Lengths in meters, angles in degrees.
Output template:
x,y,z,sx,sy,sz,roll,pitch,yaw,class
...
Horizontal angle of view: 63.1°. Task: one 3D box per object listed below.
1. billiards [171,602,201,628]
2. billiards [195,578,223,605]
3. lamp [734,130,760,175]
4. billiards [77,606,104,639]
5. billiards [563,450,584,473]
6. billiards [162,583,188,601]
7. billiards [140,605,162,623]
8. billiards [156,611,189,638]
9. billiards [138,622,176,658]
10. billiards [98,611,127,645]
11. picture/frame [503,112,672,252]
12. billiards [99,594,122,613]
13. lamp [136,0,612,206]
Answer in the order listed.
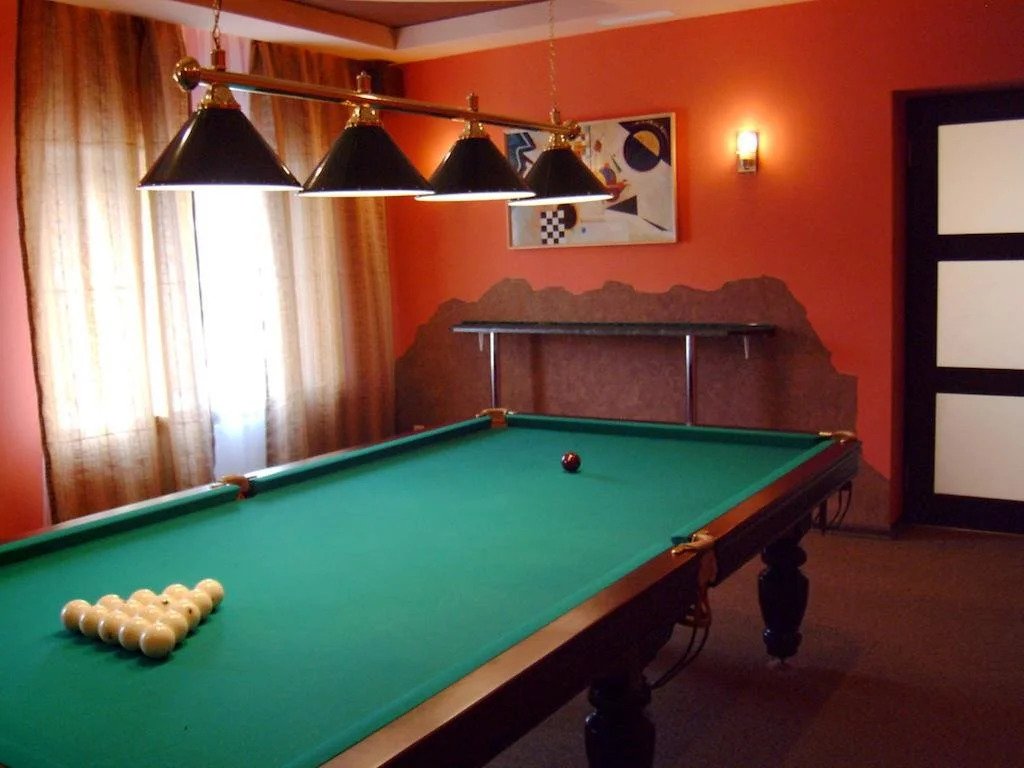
x,y,z,sx,sy,sz,roll,pitch,yaw,class
-0.822,0.574,2.114,0.059,0.064,0.062,-2,3,0,billiards
-0.806,0.547,2.236,0.062,0.069,0.065,-2,2,-2,billiards
1.423,-1.399,5.026,0.125,0.260,0.076,1,12,13,lamp
-1.061,0.598,2.125,0.065,0.080,0.066,9,7,-21,billiards
0.239,0.308,3.327,0.068,0.055,0.073,-10,37,17,billiards
-0.890,0.545,2.219,0.043,0.029,0.043,-3,12,-38,billiards
-0.914,0.577,2.107,0.035,0.021,0.036,-2,14,-33,billiards
-0.838,0.590,2.058,0.058,0.058,0.060,2,6,1,billiards
-0.850,0.616,2.032,0.070,0.078,0.075,-3,18,9,billiards
-0.998,0.604,2.074,0.069,0.073,0.071,-29,-21,22,billiards
0.507,-1.166,4.797,1.089,0.776,0.037,3,9,24,picture/frame
-1.063,0.576,2.207,0.039,0.023,0.040,1,14,-16,billiards
-0.421,-0.822,2.729,1.537,0.485,0.430,-13,16,-41,lamp
